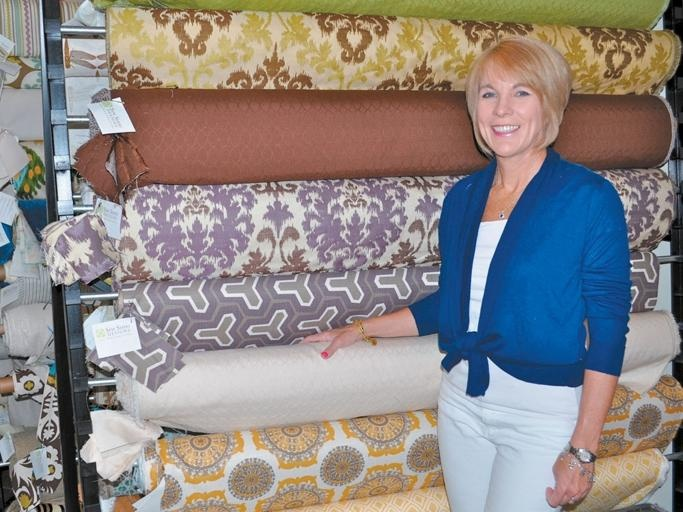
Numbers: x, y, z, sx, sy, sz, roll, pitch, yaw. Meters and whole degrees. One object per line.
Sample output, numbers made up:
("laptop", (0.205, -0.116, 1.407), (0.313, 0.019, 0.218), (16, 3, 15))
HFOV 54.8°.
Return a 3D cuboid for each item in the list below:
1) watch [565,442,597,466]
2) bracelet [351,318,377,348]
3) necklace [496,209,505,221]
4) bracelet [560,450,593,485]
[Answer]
("watch", (0.582, 0.479, 1.593), (0.043, 0.028, 0.050), (21, 2, -31))
("bracelet", (0.072, 0.237, 2.055), (0.035, 0.086, 0.062), (-34, 13, 10))
("necklace", (0.422, -0.109, 1.726), (0.015, 0.021, 0.006), (-7, -23, 24))
("bracelet", (0.569, 0.501, 1.590), (0.059, 0.079, 0.036), (-12, 5, 32))
